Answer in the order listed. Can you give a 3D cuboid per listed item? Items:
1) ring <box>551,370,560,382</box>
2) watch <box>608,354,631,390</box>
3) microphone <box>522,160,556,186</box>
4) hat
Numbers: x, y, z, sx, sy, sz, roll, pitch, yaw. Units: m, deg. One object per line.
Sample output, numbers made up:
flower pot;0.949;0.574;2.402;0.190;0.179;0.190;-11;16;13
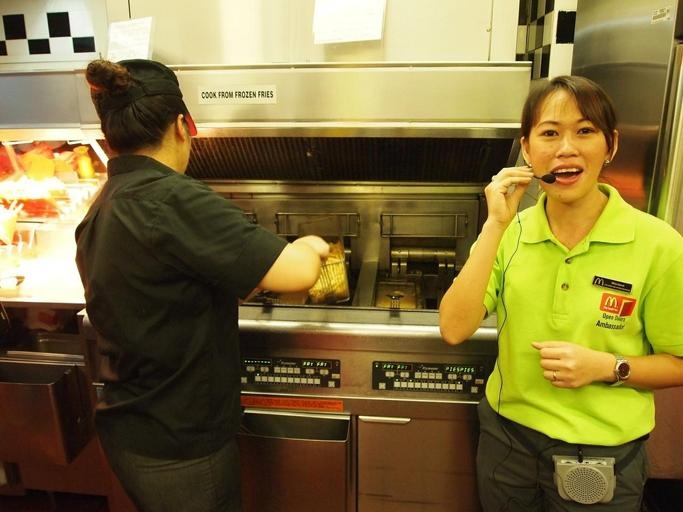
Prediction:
ring;0.712;0.399;1.834;0.019;0.036;0.009;6;17;22
watch;0.929;0.384;1.826;0.062;0.092;0.090;12;0;10
microphone;0.683;-0.266;1.849;0.133;0.031;0.085;3;34;-28
hat;-0.690;-0.548;1.900;0.195;0.140;0.283;-2;-4;37
